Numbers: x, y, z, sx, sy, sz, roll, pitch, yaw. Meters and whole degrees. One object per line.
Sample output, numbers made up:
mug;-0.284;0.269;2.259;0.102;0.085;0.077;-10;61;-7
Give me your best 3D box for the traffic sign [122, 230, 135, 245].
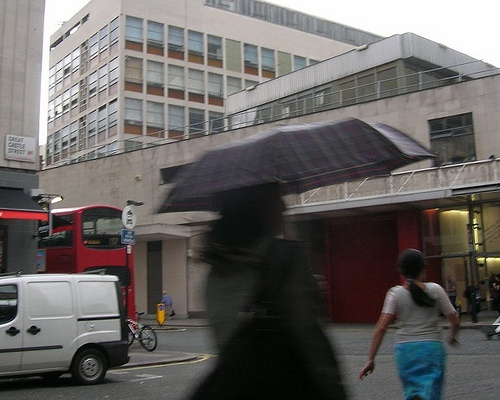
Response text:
traffic sign;-3.862;1.180;17.571;0.647;0.497;0.081;4;-5;-16
